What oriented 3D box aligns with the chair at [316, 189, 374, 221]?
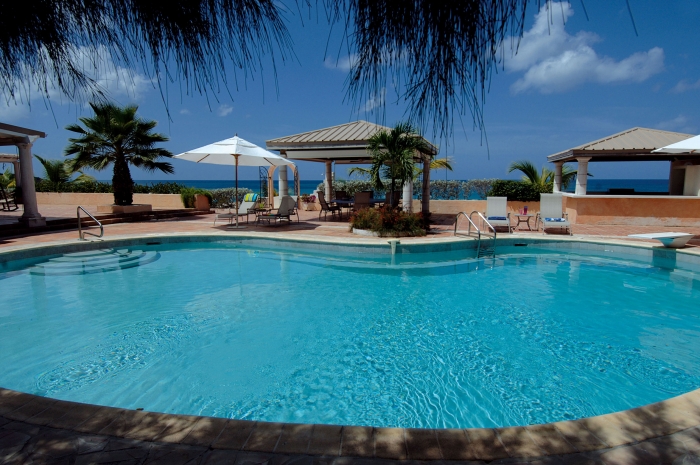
[{"bbox_3d":[-0.281,-1.178,16.371,1.751,0.834,1.705,-5,12,-15],"label":"chair"}]
